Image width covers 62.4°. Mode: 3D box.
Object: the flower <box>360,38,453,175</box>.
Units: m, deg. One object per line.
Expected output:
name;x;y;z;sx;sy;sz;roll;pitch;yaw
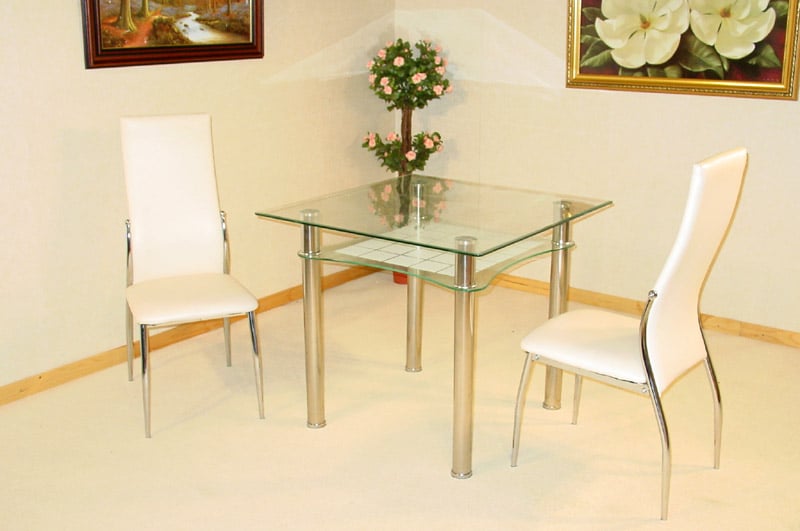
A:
flower;0.033;-1.138;4.797;0.649;0.944;0.651;-1;20;3

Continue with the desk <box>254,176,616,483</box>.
desk;0.225;0.324;3.711;1.547;1.311;1.547;13;26;33

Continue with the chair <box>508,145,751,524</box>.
chair;0.968;0.240;2.894;0.697;1.455;0.624;11;24;33
